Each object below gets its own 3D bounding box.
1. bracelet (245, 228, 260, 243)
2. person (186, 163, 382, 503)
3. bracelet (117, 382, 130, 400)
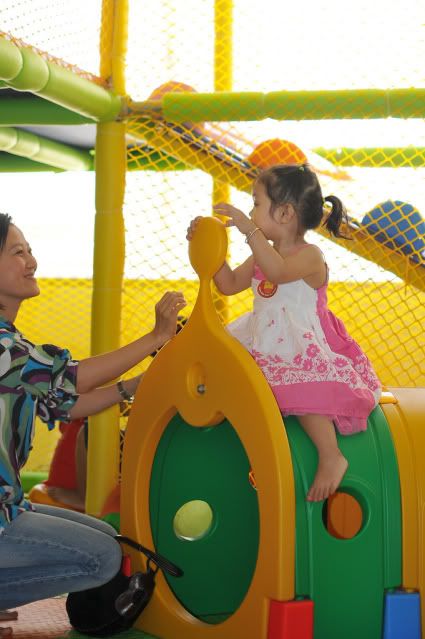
[{"bbox_3d":[0.083,-0.182,1.389,0.009,0.034,0.031,41,-23,16],"label":"bracelet"},{"bbox_3d":[0.191,-0.002,1.546,0.485,0.689,0.512,-2,10,-19],"label":"person"},{"bbox_3d":[-0.200,0.158,1.434,0.022,0.029,0.033,-26,-27,1],"label":"bracelet"}]
